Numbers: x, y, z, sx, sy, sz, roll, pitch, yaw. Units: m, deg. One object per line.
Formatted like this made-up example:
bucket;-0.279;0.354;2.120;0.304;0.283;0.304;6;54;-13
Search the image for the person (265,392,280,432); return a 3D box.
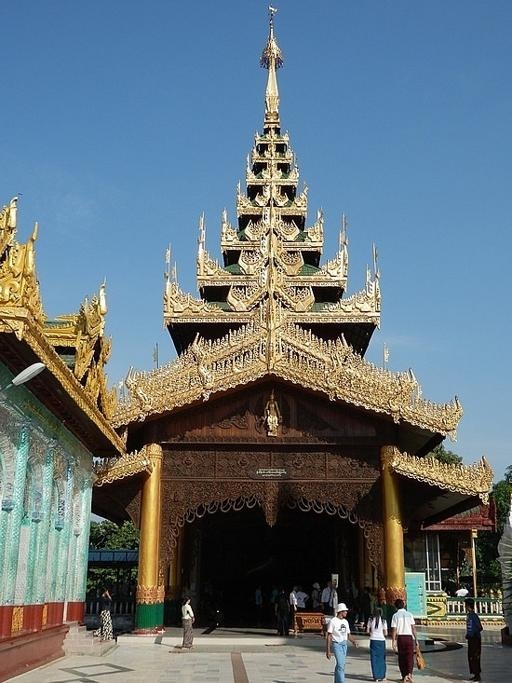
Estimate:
person;0.372;1.754;16.015;0.358;1.018;0.205;0;-19;-4
